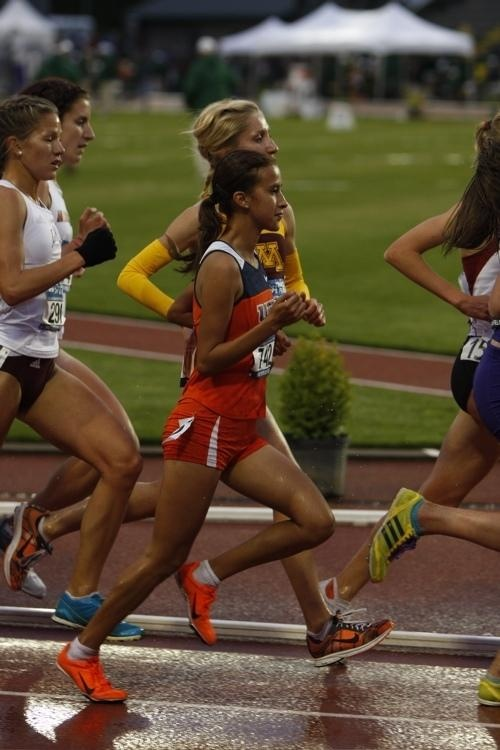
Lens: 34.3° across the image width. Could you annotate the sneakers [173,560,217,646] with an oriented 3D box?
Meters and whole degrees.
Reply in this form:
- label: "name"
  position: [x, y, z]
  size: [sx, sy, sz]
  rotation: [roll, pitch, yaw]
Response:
- label: "sneakers"
  position: [-0.162, 0.706, 2.505]
  size: [0.096, 0.251, 0.134]
  rotation: [0, 8, -28]
